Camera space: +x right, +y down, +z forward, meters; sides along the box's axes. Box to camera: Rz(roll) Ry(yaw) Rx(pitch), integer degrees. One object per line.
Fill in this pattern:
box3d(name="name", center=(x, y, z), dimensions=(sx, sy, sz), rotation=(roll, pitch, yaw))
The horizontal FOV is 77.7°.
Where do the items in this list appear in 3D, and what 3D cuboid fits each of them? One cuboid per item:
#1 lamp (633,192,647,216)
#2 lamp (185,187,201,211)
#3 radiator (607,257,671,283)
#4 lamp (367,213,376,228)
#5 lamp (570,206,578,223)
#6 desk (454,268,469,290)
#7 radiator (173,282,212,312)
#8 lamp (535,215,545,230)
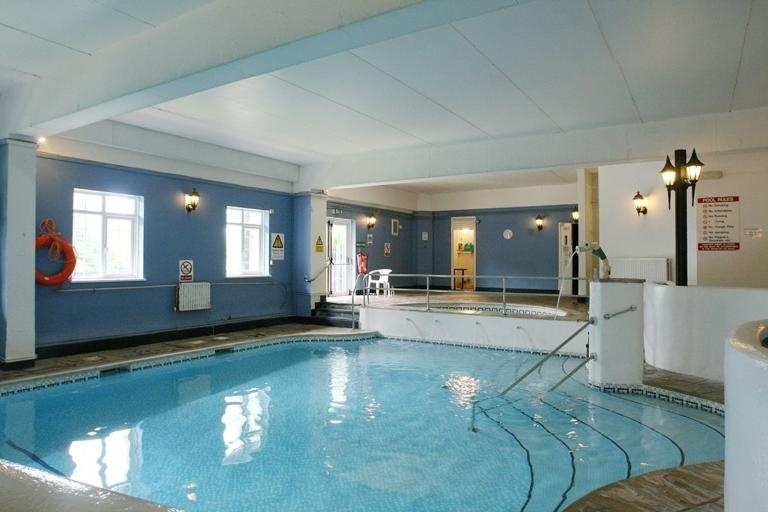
box3d(name="lamp", center=(5.726, -1.170, 10.735), dimensions=(0.320, 0.505, 0.249), rotation=(4, 9, 28))
box3d(name="lamp", center=(-4.081, -1.211, 10.280), dimensions=(0.231, 0.496, 0.366), rotation=(3, 9, 22))
box3d(name="radiator", center=(5.713, 0.255, 10.637), dimensions=(1.271, 0.484, 0.358), rotation=(4, 9, 25))
box3d(name="lamp", center=(-0.399, -1.146, 15.830), dimensions=(0.189, 0.484, 0.477), rotation=(4, 9, 27))
box3d(name="lamp", center=(5.961, -1.282, 15.000), dimensions=(0.125, 0.496, 0.974), rotation=(2, 8, 17))
box3d(name="desk", center=(3.021, 0.880, 18.802), dimensions=(0.588, 0.848, 2.453), rotation=(1, 8, 11))
box3d(name="radiator", center=(-4.139, 0.851, 10.166), dimensions=(0.108, 0.485, 0.672), rotation=(-1, -2, 35))
box3d(name="lamp", center=(5.222, -1.124, 16.080), dimensions=(0.295, 0.513, 0.210), rotation=(2, 9, 18))
